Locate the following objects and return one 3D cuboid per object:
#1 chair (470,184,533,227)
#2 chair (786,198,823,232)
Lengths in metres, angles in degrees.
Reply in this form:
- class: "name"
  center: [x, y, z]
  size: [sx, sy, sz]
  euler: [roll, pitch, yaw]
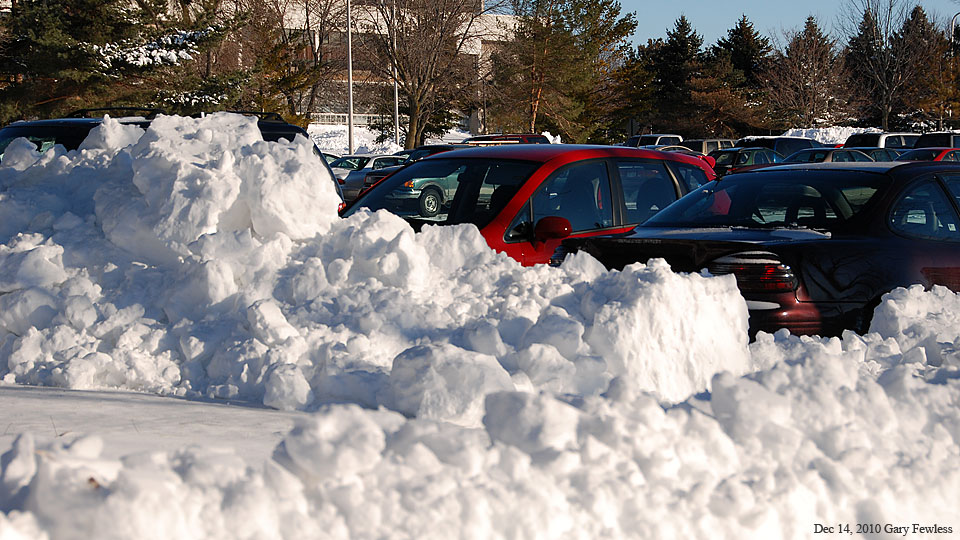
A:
- class: "chair"
  center: [0.196, -0.672, 10.774]
  size: [0.545, 0.231, 0.320]
  euler: [-17, 22, -33]
- class: "chair"
  center: [3.298, -0.570, 10.828]
  size: [0.263, 0.184, 0.436]
  euler: [7, 10, 36]
